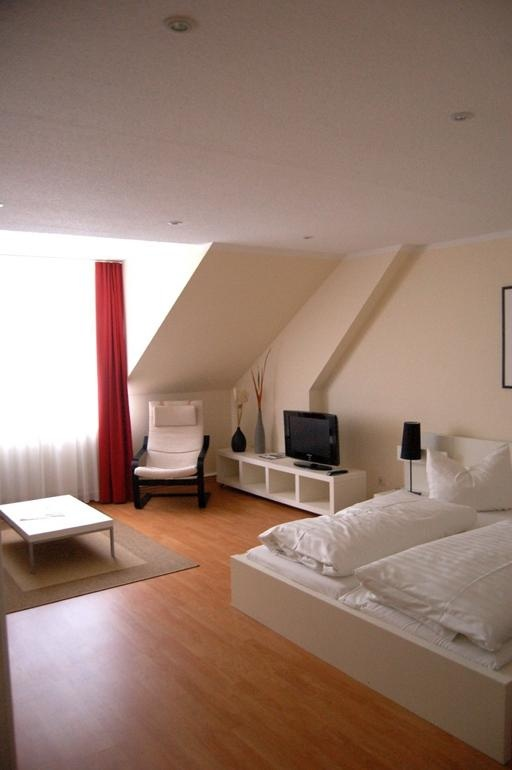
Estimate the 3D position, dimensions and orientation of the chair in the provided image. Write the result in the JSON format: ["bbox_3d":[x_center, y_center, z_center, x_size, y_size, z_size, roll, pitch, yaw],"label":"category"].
[{"bbox_3d":[-0.859,0.716,5.825,0.733,0.997,0.927,0,6,9],"label":"chair"}]

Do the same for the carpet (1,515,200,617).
[{"bbox_3d":[-1.250,1.276,4.160,1.227,0.043,1.371,-3,2,-32],"label":"carpet"}]

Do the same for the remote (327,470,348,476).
[{"bbox_3d":[0.727,0.761,5.020,0.059,0.038,0.296,-6,-5,40],"label":"remote"}]

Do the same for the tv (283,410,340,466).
[{"bbox_3d":[0.538,0.499,5.351,0.139,0.366,0.504,-10,8,-38],"label":"tv"}]
